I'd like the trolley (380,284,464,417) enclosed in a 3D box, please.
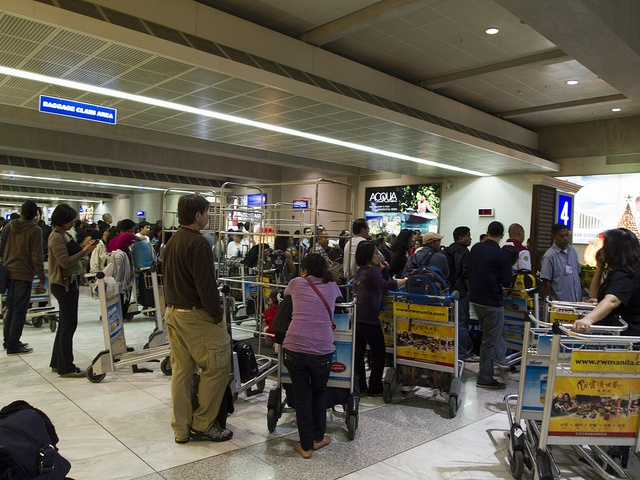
[{"bbox_3d":[1.398,1.237,5.367,1.275,1.285,0.973,-1,-1,-42],"label":"trolley"}]

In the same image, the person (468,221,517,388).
[{"bbox_3d":[2.194,0.958,5.885,0.582,1.900,0.334,6,7,30],"label":"person"}]

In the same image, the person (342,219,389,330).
[{"bbox_3d":[0.689,0.316,6.429,0.435,1.195,0.393,-10,1,24],"label":"person"}]

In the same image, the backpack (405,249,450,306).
[{"bbox_3d":[1.278,0.434,5.396,0.510,0.641,0.418,-4,1,36],"label":"backpack"}]

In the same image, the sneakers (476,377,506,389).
[{"bbox_3d":[2.229,1.872,5.887,0.362,0.138,0.140,-1,-3,7],"label":"sneakers"}]

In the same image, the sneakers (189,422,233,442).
[{"bbox_3d":[-1.036,1.837,4.370,0.459,0.202,0.158,3,-7,-12],"label":"sneakers"}]

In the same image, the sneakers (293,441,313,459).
[{"bbox_3d":[-0.157,1.924,4.136,0.088,0.068,0.173,-6,17,-35],"label":"sneakers"}]

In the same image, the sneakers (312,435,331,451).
[{"bbox_3d":[0.007,1.911,4.229,0.070,0.070,0.188,9,17,32],"label":"sneakers"}]

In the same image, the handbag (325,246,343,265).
[{"bbox_3d":[0.251,0.245,6.984,0.276,0.243,0.194,6,1,25],"label":"handbag"}]

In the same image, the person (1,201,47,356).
[{"bbox_3d":[-4.184,0.537,6.295,0.483,2.149,0.507,-2,7,-33],"label":"person"}]

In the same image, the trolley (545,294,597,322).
[{"bbox_3d":[2.667,0.726,4.801,0.547,0.229,0.419,0,2,7],"label":"trolley"}]

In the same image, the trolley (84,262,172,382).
[{"bbox_3d":[-2.645,1.077,6.213,1.561,1.415,0.982,-6,9,-26],"label":"trolley"}]

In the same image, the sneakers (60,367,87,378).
[{"bbox_3d":[-3.087,1.671,5.645,0.325,0.133,0.113,-2,5,-22],"label":"sneakers"}]

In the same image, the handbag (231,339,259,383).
[{"bbox_3d":[-0.851,1.365,5.078,0.338,0.497,0.244,0,7,-22],"label":"handbag"}]

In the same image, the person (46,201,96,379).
[{"bbox_3d":[-3.149,0.637,5.631,0.467,2.146,0.640,-1,7,-31],"label":"person"}]

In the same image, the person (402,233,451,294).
[{"bbox_3d":[1.342,0.368,5.591,0.632,0.918,0.472,3,22,31],"label":"person"}]

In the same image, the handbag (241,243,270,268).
[{"bbox_3d":[-1.186,0.288,7.853,0.203,0.517,0.383,19,-6,-23],"label":"handbag"}]

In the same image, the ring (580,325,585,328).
[{"bbox_3d":[1.996,0.656,3.409,0.024,0.013,0.017,-8,-23,17],"label":"ring"}]

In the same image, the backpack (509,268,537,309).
[{"bbox_3d":[3.035,0.720,6.649,0.337,0.547,0.402,-8,10,-22],"label":"backpack"}]

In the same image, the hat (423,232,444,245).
[{"bbox_3d":[1.497,-0.013,6.032,0.264,0.117,0.159,-11,9,-21],"label":"hat"}]

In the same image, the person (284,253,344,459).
[{"bbox_3d":[-0.113,1.048,4.227,0.437,1.812,0.462,6,7,29],"label":"person"}]

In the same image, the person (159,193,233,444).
[{"bbox_3d":[-1.175,0.750,4.233,0.605,2.332,0.449,7,8,38],"label":"person"}]

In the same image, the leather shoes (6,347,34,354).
[{"bbox_3d":[-4.290,1.561,6.368,0.292,0.105,0.095,0,1,-34],"label":"leather shoes"}]
